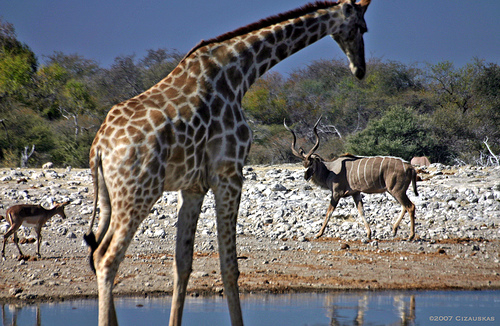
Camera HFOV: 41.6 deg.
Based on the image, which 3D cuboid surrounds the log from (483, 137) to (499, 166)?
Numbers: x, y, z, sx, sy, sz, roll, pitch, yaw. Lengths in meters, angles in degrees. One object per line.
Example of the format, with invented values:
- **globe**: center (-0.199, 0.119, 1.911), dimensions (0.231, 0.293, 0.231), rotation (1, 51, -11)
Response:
- **log**: center (13.516, -0.633, 36.873), dimensions (0.216, 1.650, 0.319), rotation (-33, 5, -42)

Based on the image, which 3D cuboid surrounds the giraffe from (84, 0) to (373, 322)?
- **giraffe**: center (-0.638, -0.032, 17.270), dimensions (7.112, 7.931, 3.962), rotation (2, -11, -17)

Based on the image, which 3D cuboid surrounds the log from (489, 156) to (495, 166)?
- **log**: center (12.748, -0.103, 34.598), dimensions (0.071, 0.355, 0.333), rotation (-18, -1, 6)
